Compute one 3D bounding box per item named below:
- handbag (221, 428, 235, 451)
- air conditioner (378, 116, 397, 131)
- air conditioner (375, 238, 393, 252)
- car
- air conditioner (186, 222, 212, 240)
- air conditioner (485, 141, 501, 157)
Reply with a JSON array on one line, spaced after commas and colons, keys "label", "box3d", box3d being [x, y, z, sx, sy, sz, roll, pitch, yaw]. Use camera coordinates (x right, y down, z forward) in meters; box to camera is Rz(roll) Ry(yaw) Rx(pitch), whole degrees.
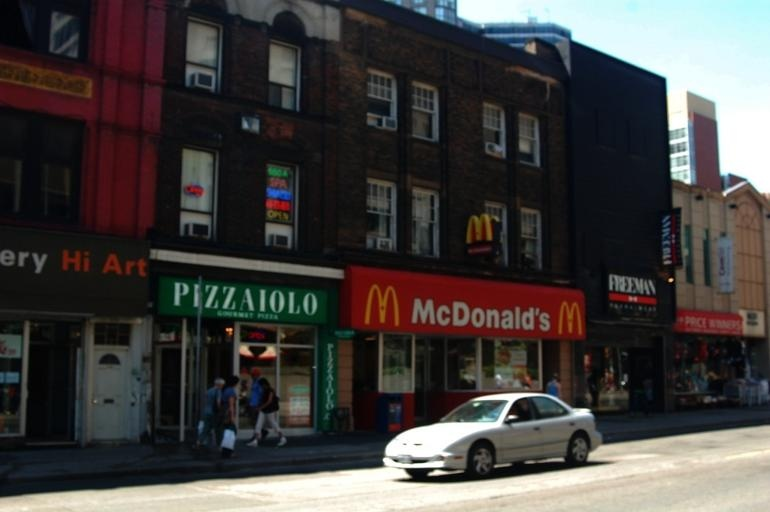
[{"label": "handbag", "box3d": [-4.699, 5.430, 27.580, 0.401, 0.624, 0.299, -3, -13, 1]}, {"label": "air conditioner", "box3d": [0.101, -5.114, 35.897, 0.834, 0.557, 0.461, 11, -20, -40]}, {"label": "air conditioner", "box3d": [-0.043, -0.318, 35.412, 0.755, 0.554, 0.401, 6, -6, -40]}, {"label": "car", "box3d": [3.057, 4.935, 25.769, 5.933, 2.266, 1.371, 3, -14, -25]}, {"label": "air conditioner", "box3d": [-6.287, -0.841, 31.390, 0.831, 0.583, 0.447, 6, -14, -39]}, {"label": "air conditioner", "box3d": [4.550, -4.442, 38.663, 1.033, 0.689, 0.205, 9, -17, -40]}]
